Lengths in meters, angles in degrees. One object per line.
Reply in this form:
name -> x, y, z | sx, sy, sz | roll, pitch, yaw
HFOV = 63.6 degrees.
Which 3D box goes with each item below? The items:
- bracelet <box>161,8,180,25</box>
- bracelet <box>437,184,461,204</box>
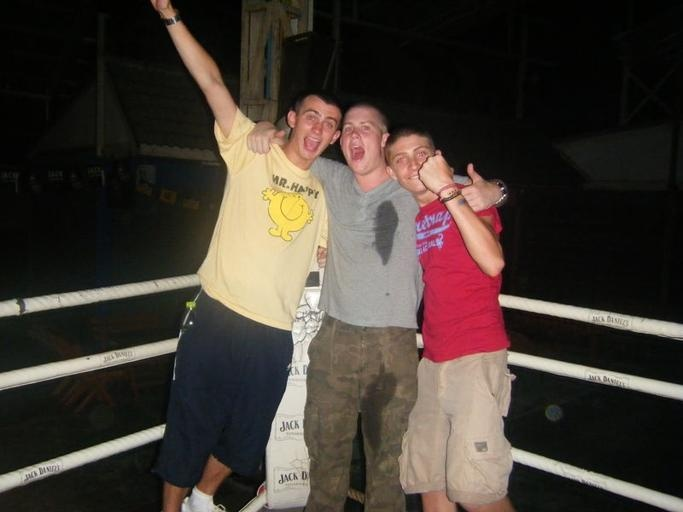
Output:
bracelet -> -1.470, -2.060, 4.775 | 0.155, 0.116, 0.159 | -1, 23, 16
bracelet -> 0.922, -0.538, 4.719 | 0.162, 0.156, 0.075 | -23, 6, 6
